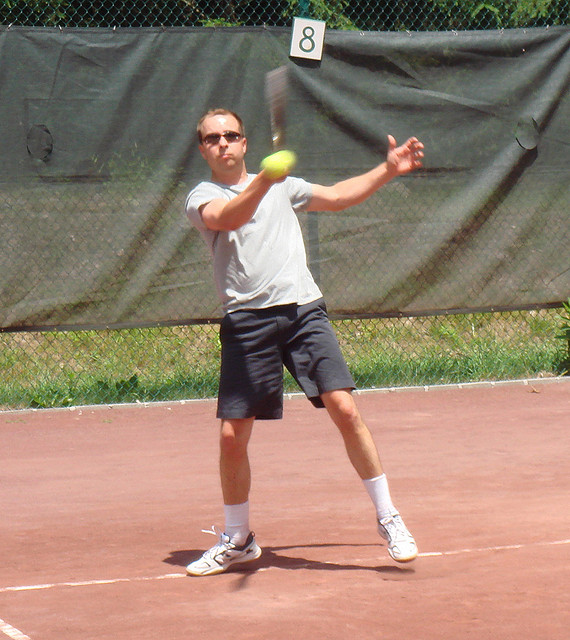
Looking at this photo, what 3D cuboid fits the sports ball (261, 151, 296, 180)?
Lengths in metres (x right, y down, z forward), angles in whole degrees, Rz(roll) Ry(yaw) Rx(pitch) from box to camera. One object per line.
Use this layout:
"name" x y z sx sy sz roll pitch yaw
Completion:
"sports ball" -0.023 -0.471 2.515 0.119 0.068 0.079 -15 -27 -18

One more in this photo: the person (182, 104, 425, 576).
"person" 0.072 0.027 3.282 0.826 1.674 1.453 -1 11 3
